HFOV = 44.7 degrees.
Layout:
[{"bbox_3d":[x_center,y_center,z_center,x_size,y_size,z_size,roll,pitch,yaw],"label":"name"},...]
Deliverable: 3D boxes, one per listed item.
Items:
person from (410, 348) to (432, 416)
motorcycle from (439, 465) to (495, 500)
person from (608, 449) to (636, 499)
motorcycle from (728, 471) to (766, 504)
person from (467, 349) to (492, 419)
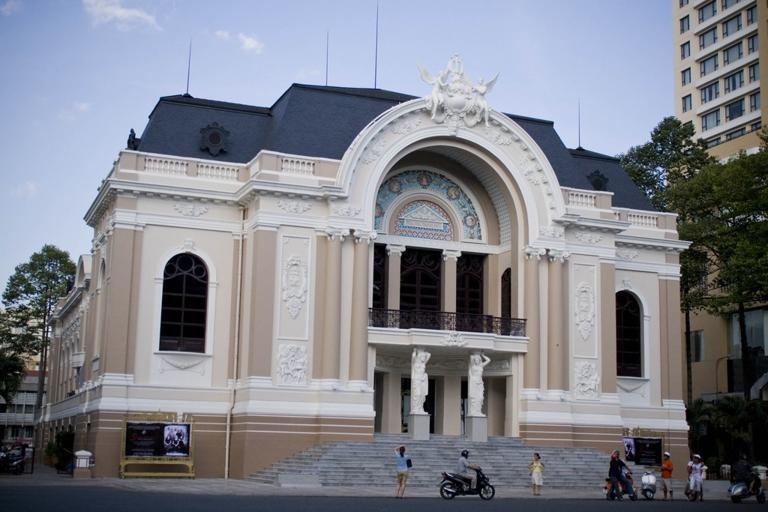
[{"bbox_3d":[1.795,6.391,47.616,0.943,3.364,0.498,-1,-12,3],"label":"person"},{"bbox_3d":[3.493,9.892,40.036,2.644,1.586,1.079,0,-13,-4],"label":"motorcycle"},{"bbox_3d":[10.784,10.206,41.926,1.363,1.341,0.625,2,-1,-1],"label":"person"},{"bbox_3d":[16.327,10.420,42.017,1.375,1.346,3.388,-5,-12,20],"label":"motorcycle"},{"bbox_3d":[4.829,6.673,48.557,0.962,3.349,0.455,0,-12,-3],"label":"person"}]
